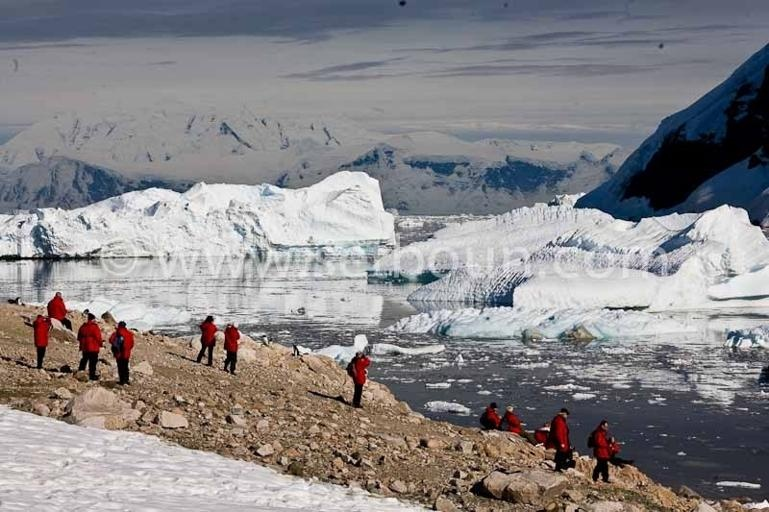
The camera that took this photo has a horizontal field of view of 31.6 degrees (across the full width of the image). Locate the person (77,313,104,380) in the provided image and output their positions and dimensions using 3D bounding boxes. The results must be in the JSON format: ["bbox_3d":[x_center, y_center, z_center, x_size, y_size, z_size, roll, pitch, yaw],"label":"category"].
[{"bbox_3d":[-11.745,3.511,53.777,0.975,2.611,1.511,8,-1,-12],"label":"person"}]

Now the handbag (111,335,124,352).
[{"bbox_3d":[-10.422,3.361,52.868,0.507,0.741,0.617,-2,-10,-25],"label":"handbag"}]

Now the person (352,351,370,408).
[{"bbox_3d":[-1.043,4.919,54.850,0.632,2.188,1.384,8,-1,0],"label":"person"}]

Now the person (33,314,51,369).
[{"bbox_3d":[-13.726,3.348,53.829,0.593,2.149,0.924,8,-1,-8],"label":"person"}]

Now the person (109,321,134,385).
[{"bbox_3d":[-10.407,3.749,53.500,0.968,2.510,1.468,8,-1,-11],"label":"person"}]

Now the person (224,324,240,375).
[{"bbox_3d":[-6.335,3.734,55.858,0.681,2.082,1.295,8,-1,-6],"label":"person"}]
